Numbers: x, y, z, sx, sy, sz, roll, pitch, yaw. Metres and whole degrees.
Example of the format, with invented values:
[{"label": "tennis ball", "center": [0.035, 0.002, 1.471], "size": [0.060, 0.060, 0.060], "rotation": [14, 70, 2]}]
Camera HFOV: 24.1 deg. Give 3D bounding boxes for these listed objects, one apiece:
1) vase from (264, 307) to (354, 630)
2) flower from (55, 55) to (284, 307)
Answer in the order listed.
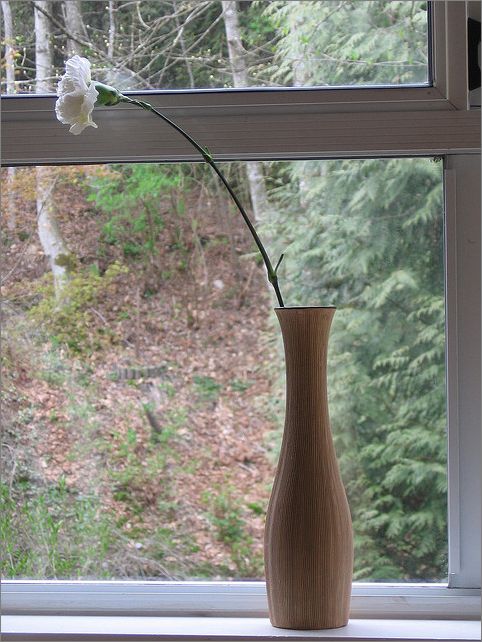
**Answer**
[{"label": "vase", "center": [0.096, 0.212, 1.620], "size": [0.119, 0.417, 0.060], "rotation": [-2, 1, 4]}, {"label": "flower", "center": [-0.114, -0.198, 1.714], "size": [0.325, 0.346, 0.232], "rotation": [-2, 0, -9]}]
